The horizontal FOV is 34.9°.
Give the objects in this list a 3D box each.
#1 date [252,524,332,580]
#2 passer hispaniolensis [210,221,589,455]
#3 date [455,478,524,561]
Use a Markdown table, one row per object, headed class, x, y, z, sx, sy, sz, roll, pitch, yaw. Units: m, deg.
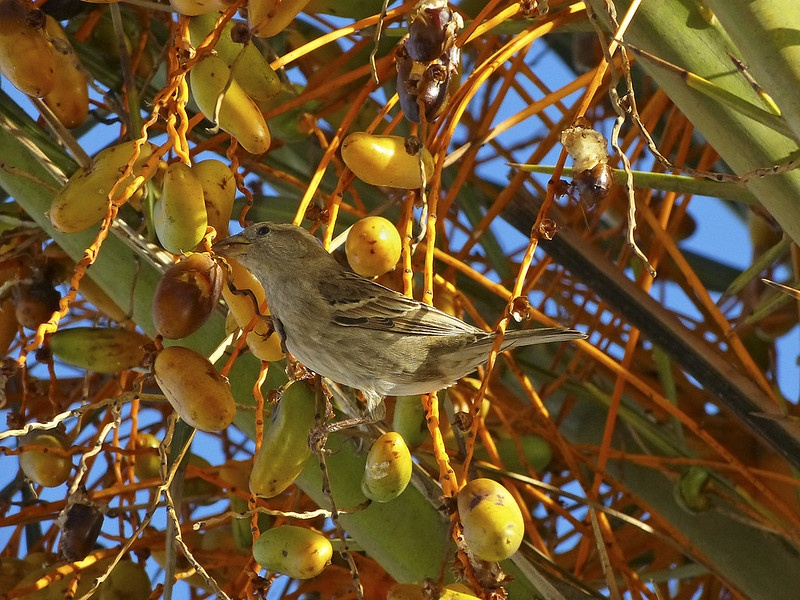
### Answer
| class | x | y | z | sx | sy | sz | roll | pitch | yaw |
| --- | --- | --- | --- | --- | --- | --- | --- | --- | --- |
| date | -0.096 | 0.226 | 1.175 | 0.068 | 0.040 | 0.040 | 6 | 6 | 22 |
| passer hispaniolensis | 0.005 | 0.027 | 1.279 | 0.340 | 0.225 | 0.123 | -2 | -13 | -13 |
| date | 0.077 | 0.187 | 1.084 | 0.051 | 0.062 | 0.049 | -21 | -38 | 17 |
